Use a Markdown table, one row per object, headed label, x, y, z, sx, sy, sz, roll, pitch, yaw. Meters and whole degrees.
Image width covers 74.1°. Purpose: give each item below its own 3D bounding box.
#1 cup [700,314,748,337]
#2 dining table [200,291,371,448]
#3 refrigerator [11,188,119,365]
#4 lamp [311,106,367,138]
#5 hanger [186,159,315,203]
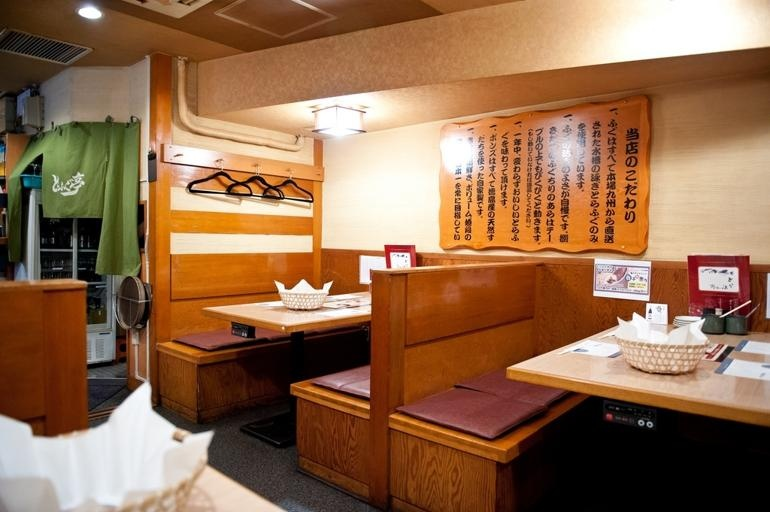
| label | x | y | z | sx | sy | sz | roll | pitch | yaw |
| --- | --- | --- | --- | --- | --- | --- | --- | --- | --- |
| cup | 2.351 | 0.482 | 3.539 | 0.202 | 0.114 | 0.271 | 0 | 1 | -40 |
| dining table | -0.718 | 0.818 | 4.414 | 1.289 | 1.095 | 1.608 | 3 | 3 | 41 |
| refrigerator | -3.645 | 0.285 | 5.900 | 0.910 | 1.824 | 0.612 | 6 | -10 | -39 |
| lamp | -0.455 | -1.230 | 4.716 | 0.307 | 0.146 | 0.310 | -5 | -7 | 38 |
| hanger | -1.401 | -0.761 | 5.497 | 0.210 | 0.379 | 1.453 | 3 | 6 | 43 |
